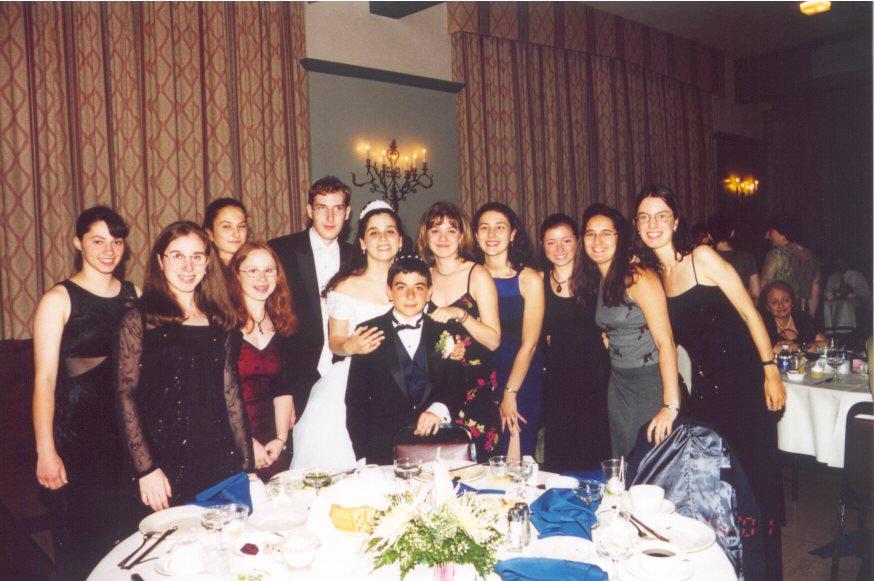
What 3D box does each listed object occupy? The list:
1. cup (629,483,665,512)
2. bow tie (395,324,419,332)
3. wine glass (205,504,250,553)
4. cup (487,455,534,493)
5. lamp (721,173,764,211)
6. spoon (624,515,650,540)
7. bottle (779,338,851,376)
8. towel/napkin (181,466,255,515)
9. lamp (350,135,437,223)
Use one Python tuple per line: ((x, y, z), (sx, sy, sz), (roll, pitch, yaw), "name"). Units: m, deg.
((1.141, 1.114, 4.067), (0.146, 0.089, 0.155), (1, -13, 0), "cup")
((-0.232, 0.266, 5.460), (0.143, 0.042, 0.022), (0, -6, 0), "bow tie")
((-1.098, 1.243, 3.950), (0.203, 0.186, 0.227), (0, -10, 3), "wine glass")
((0.434, 1.042, 4.326), (0.185, 0.147, 0.201), (-2, -11, 0), "cup")
((4.728, -1.546, 11.667), (0.635, 0.604, 0.196), (-1, -1, -23), "lamp")
((1.057, 1.231, 4.003), (0.054, 0.038, 0.250), (-2, 14, -12), "spoon")
((3.336, 0.593, 6.687), (0.395, 0.217, 0.552), (-1, -4, 16), "bottle")
((-1.160, 1.149, 4.234), (0.343, 0.099, 0.371), (-20, -18, -1), "towel/napkin")
((-0.476, -1.205, 8.213), (0.997, 0.953, 0.995), (9, 13, 30), "lamp")
